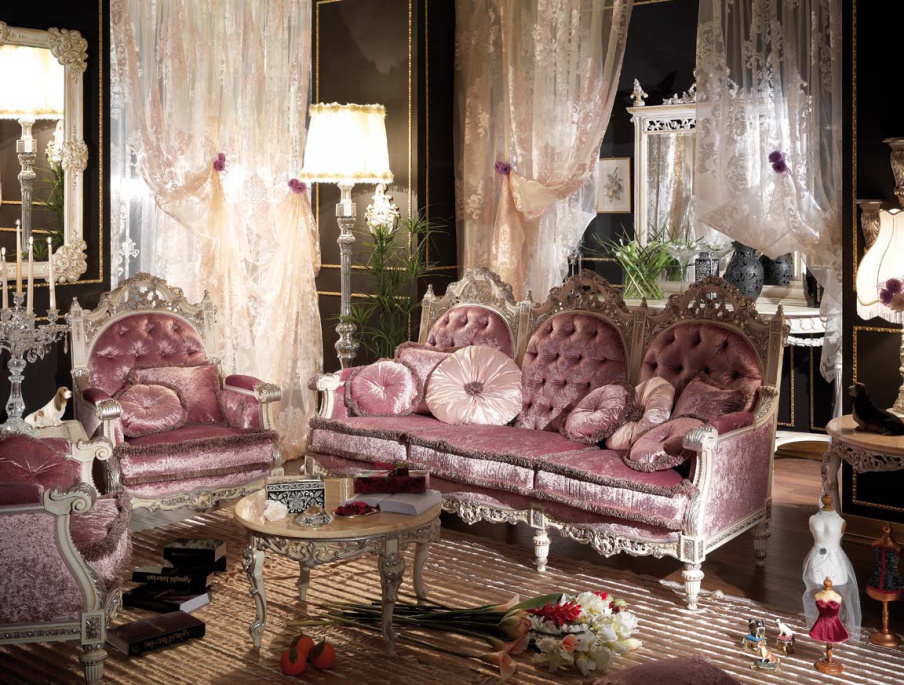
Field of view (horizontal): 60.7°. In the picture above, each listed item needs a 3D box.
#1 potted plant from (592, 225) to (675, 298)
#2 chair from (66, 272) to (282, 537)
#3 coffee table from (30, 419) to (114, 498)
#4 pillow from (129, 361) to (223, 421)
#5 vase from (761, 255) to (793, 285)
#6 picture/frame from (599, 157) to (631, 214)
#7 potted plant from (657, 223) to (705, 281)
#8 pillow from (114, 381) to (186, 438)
[{"bbox_3d":[1.559,-0.632,6.457,0.623,0.519,0.651,0,0,37],"label":"potted plant"},{"bbox_3d":[-1.665,0.359,4.556,1.080,1.393,1.118,-2,4,-22],"label":"chair"},{"bbox_3d":[-1.612,0.496,3.254,0.175,0.241,0.307,1,7,-42],"label":"coffee table"},{"bbox_3d":[-1.559,0.290,4.631,0.375,0.406,0.143,-2,-28,-32],"label":"pillow"},{"bbox_3d":[2.579,-0.557,6.037,0.240,0.292,0.213,-3,6,-43],"label":"vase"},{"bbox_3d":[1.383,-1.335,6.503,0.285,0.553,0.040,2,46,13],"label":"picture/frame"},{"bbox_3d":[1.882,-0.718,6.370,0.355,0.449,0.373,-1,-9,35],"label":"potted plant"},{"bbox_3d":[-1.750,0.388,4.464,0.344,0.254,0.228,-4,8,-26],"label":"pillow"}]
